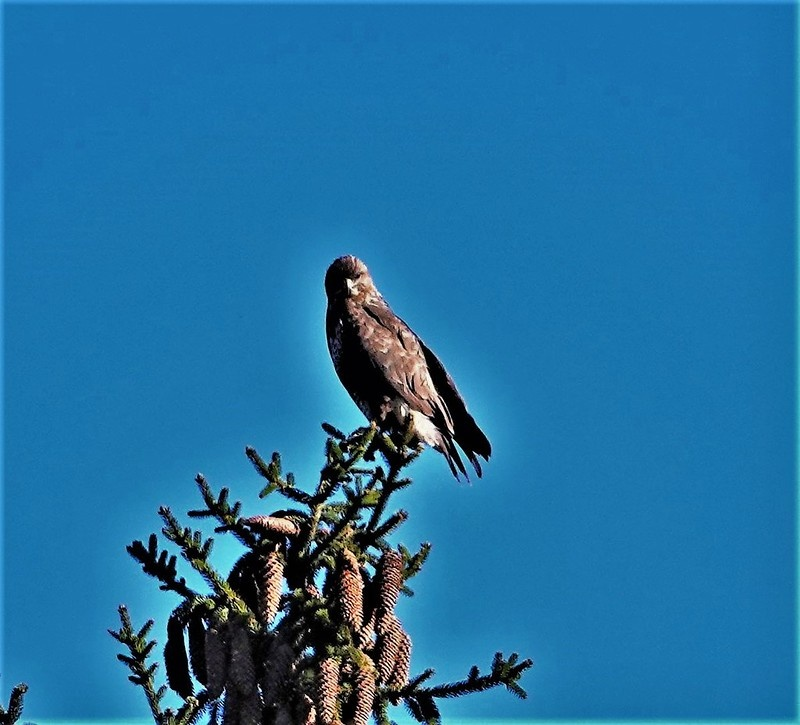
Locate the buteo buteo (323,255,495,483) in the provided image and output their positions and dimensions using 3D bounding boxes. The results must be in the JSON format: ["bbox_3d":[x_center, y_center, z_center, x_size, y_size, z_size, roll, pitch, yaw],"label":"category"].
[{"bbox_3d":[-0.004,0.023,9.500,0.717,1.172,0.520,2,-30,-5],"label":"buteo buteo"}]
